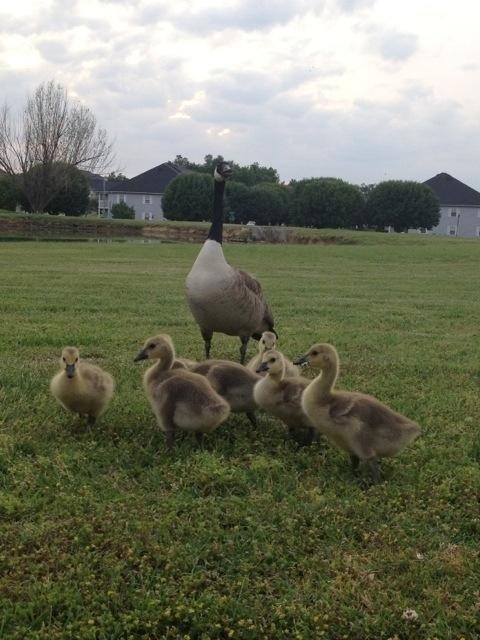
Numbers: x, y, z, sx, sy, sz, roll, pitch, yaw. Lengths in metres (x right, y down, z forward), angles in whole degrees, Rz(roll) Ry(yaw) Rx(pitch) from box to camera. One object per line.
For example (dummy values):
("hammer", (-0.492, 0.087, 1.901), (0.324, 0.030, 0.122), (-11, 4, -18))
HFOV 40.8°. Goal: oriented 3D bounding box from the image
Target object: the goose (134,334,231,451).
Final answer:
("goose", (-0.533, 0.686, 6.227), (1.354, 1.040, 0.599), (7, 9, 40))
